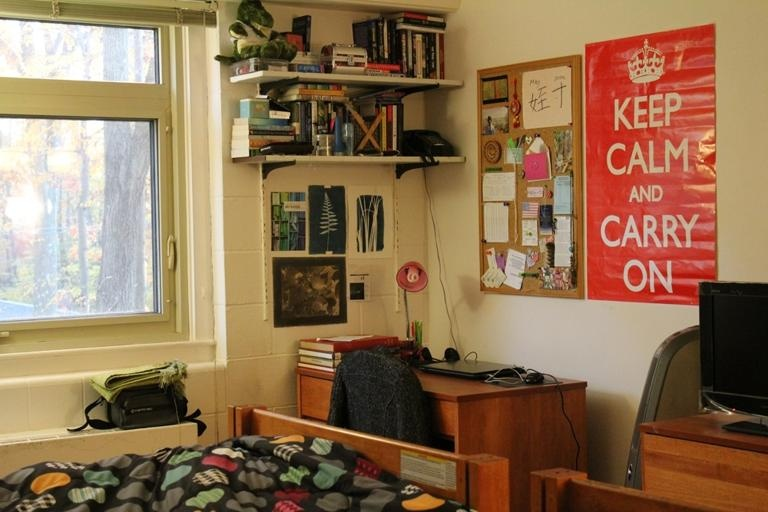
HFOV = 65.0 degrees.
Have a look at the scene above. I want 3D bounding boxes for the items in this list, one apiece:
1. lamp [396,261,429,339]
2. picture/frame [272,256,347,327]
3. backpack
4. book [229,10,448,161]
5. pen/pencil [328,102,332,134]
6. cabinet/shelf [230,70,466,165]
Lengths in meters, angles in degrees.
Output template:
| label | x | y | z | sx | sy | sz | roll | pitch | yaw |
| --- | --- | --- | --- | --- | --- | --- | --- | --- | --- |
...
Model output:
| label | x | y | z | sx | sy | sz | roll | pitch | yaw |
| --- | --- | --- | --- | --- | --- | --- | --- | --- | --- |
| lamp | 0.179 | 0.264 | 3.880 | 0.190 | 0.471 | 0.431 | 0 | 7 | 3 |
| picture/frame | -0.485 | 0.215 | 3.754 | 0.467 | 0.387 | 0.035 | -1 | 0 | -19 |
| backpack | -1.328 | 0.806 | 3.290 | 0.444 | 0.142 | 0.345 | 0 | -5 | -27 |
| book | -0.253 | -1.065 | 3.688 | 1.416 | 0.927 | 0.367 | -3 | 7 | -24 |
| pen/pencil | -0.318 | -0.811 | 3.585 | 0.024 | 0.158 | 0.020 | -1 | 7 | -5 |
| cabinet/shelf | -0.291 | -1.100 | 4.414 | 1.045 | 0.494 | 2.403 | 5 | 15 | 5 |
